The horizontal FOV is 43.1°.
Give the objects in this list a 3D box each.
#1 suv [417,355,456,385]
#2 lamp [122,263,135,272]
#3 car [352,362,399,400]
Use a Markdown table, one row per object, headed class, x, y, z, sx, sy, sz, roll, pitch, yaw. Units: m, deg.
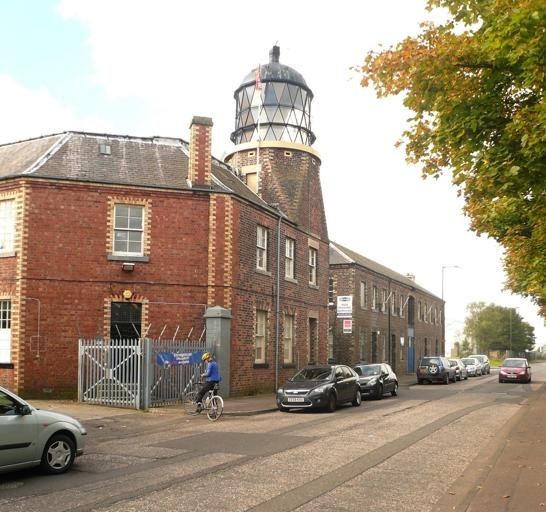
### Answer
| class | x | y | z | sx | sy | sz | roll | pitch | yaw |
| --- | --- | --- | --- | --- | --- | --- | --- | --- | --- |
| suv | 8.939 | 6.250 | 37.724 | 1.128 | 1.135 | 2.714 | -3 | -6 | 21 |
| lamp | -4.612 | 0.313 | 21.960 | 0.405 | 0.280 | 0.333 | 2 | -15 | -14 |
| car | 3.699 | 4.587 | 25.357 | 0.960 | 0.757 | 1.816 | -8 | -20 | 23 |
